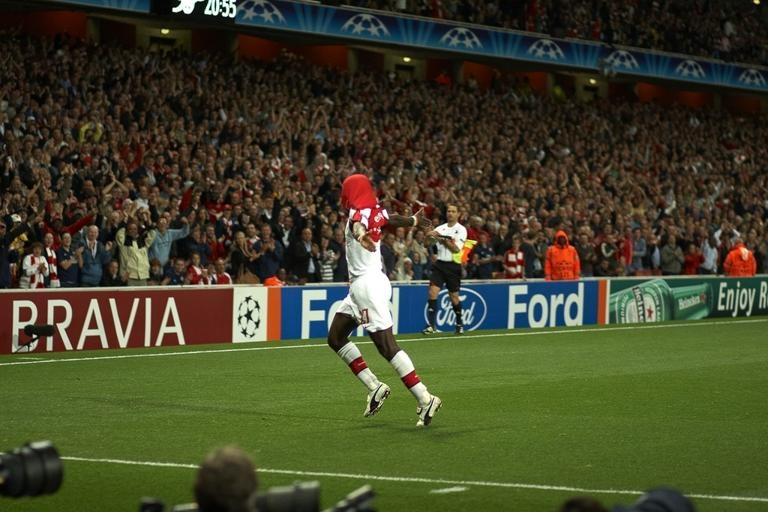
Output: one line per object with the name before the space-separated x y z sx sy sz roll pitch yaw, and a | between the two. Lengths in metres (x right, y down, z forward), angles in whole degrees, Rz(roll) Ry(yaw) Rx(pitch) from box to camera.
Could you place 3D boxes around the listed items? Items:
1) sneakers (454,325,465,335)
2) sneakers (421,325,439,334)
sneakers | 1.667 1.624 23.425 0.225 0.215 0.163 -6 11 -23
sneakers | 0.987 1.615 23.142 0.142 0.181 0.397 -4 -9 17
